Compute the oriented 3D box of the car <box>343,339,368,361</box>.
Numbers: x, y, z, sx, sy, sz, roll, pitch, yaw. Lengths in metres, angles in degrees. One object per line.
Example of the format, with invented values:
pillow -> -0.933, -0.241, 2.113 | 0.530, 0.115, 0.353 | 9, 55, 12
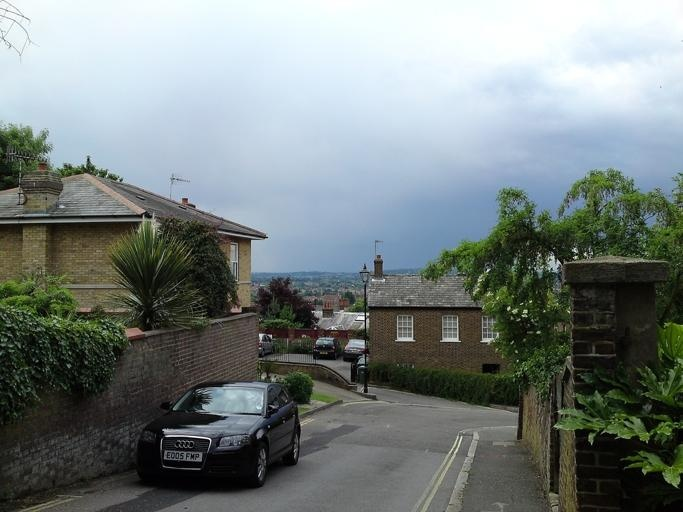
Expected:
car -> 0.932, 7.048, 46.318 | 1.107, 1.077, 3.013 | 1, 2, 8
